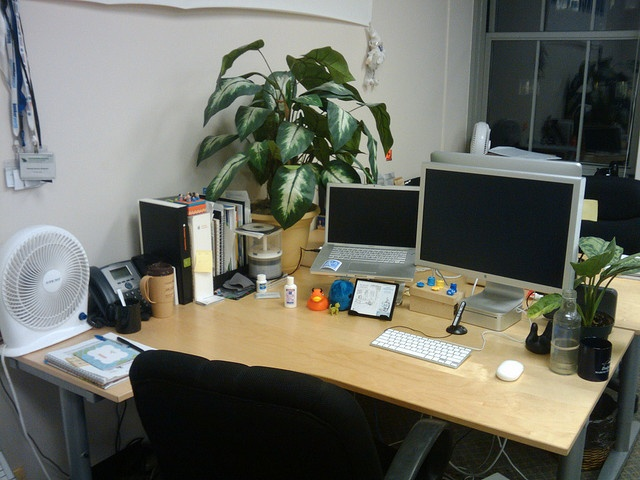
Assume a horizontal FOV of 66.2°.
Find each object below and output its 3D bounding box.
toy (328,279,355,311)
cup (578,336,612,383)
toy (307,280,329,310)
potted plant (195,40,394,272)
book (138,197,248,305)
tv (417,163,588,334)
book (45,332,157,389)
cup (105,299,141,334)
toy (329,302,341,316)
[{"bbox_3d":[0.105,0.252,2.284,0.098,0.118,0.137,5,15,7],"label":"toy"},{"bbox_3d":[1.027,0.431,1.809,0.111,0.138,0.150,2,10,20],"label":"cup"},{"bbox_3d":[-0.010,0.265,2.304,0.074,0.095,0.101,2,17,7],"label":"toy"},{"bbox_3d":[-0.268,-0.481,2.769,1.025,1.022,1.036,26,39,36],"label":"potted plant"},{"bbox_3d":[-0.717,-0.013,2.554,0.596,0.625,0.455,10,16,34],"label":"book"},{"bbox_3d":[0.763,0.032,2.038,0.592,0.598,0.212,12,20,39],"label":"tv"},{"bbox_3d":[-0.851,0.451,1.877,0.310,0.056,0.296,20,19,37],"label":"book"},{"bbox_3d":[-0.818,0.318,2.108,0.106,0.131,0.144,7,14,24],"label":"cup"},{"bbox_3d":[0.066,0.310,2.213,0.034,0.054,0.051,17,32,35],"label":"toy"}]
